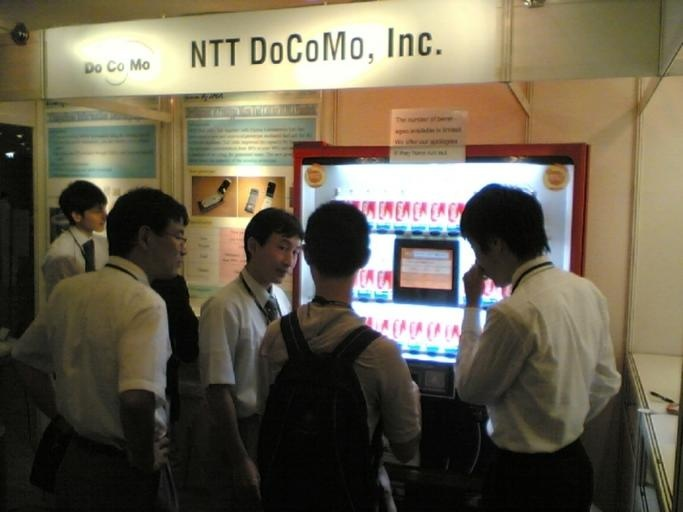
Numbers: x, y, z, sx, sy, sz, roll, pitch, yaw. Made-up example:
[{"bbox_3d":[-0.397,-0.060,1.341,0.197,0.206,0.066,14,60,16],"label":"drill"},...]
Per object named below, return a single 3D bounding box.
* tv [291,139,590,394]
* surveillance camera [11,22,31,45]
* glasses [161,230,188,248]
[{"bbox_3d":[0.432,-0.239,3.496,1.421,0.565,1.410,-1,-38,0],"label":"tv"},{"bbox_3d":[-1.320,-0.912,2.598,0.073,0.086,0.024,4,3,3],"label":"surveillance camera"},{"bbox_3d":[-0.635,-0.065,2.414,0.062,0.068,0.021,8,29,-10],"label":"glasses"}]
